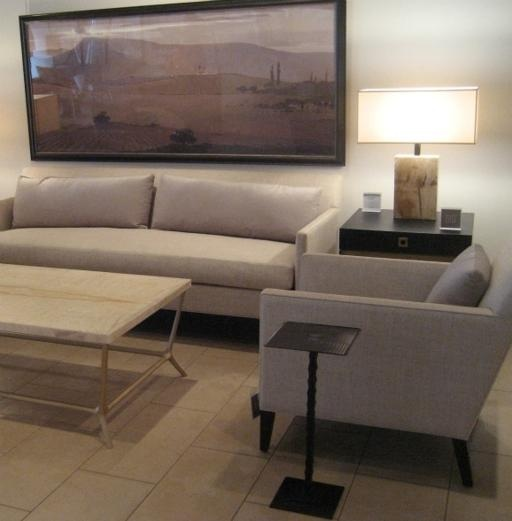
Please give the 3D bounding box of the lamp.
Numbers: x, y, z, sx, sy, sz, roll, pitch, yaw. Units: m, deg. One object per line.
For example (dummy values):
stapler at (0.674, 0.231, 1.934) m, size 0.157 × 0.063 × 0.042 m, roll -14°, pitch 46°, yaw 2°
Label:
lamp at (0.924, -0.622, 2.846) m, size 0.638 × 0.776 × 0.236 m, roll 4°, pitch 13°, yaw 20°

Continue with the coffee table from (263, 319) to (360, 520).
coffee table at (0.167, 0.456, 1.402) m, size 0.236 × 0.572 × 0.409 m, roll 2°, pitch 12°, yaw 12°

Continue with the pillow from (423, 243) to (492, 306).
pillow at (0.676, 0.031, 1.616) m, size 0.097 × 0.143 × 0.188 m, roll 14°, pitch 59°, yaw 15°
